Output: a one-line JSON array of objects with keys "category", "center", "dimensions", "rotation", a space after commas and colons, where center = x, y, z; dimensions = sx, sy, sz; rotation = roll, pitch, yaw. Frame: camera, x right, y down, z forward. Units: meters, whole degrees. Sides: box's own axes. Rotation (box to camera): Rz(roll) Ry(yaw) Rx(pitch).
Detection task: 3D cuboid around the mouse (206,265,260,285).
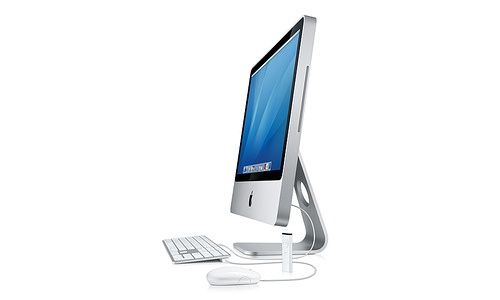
[{"category": "mouse", "center": [-0.065, 0.482, 1.569], "dimensions": [0.161, 0.087, 0.038], "rotation": [2, -91, -7]}]
